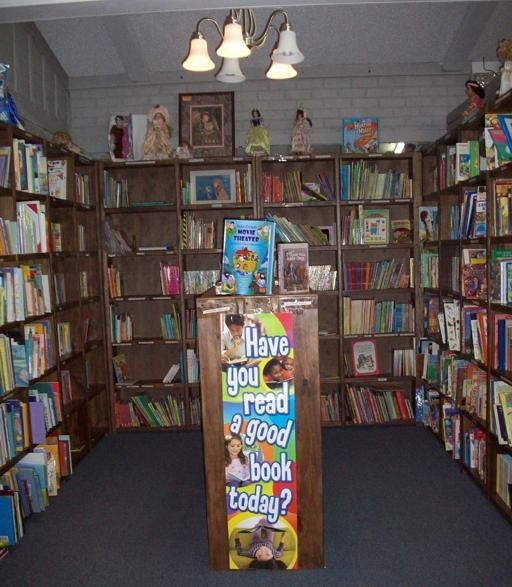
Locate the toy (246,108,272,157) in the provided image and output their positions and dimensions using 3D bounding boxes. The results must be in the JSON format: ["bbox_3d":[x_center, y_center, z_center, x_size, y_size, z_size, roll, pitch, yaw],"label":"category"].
[{"bbox_3d":[0.014,-1.473,4.443,0.200,0.428,0.202,-5,-2,44],"label":"toy"}]

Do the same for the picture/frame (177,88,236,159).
[{"bbox_3d":[-0.525,-1.761,5.077,0.565,0.683,0.035,-1,-7,-4],"label":"picture/frame"}]

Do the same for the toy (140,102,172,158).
[{"bbox_3d":[-0.938,-1.480,4.504,0.269,0.547,0.365,-2,3,4],"label":"toy"}]

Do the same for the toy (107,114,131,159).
[{"bbox_3d":[-1.371,-1.610,4.975,0.194,0.507,0.252,0,4,25],"label":"toy"}]

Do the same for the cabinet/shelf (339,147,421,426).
[{"bbox_3d":[1.095,0.020,4.405,0.688,2.321,0.247,-1,0,18],"label":"cabinet/shelf"}]

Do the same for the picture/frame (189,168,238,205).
[{"bbox_3d":[-0.394,-0.997,4.554,0.369,0.279,0.016,-1,3,2],"label":"picture/frame"}]

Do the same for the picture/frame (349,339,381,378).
[{"bbox_3d":[1.015,0.602,4.571,0.308,0.428,0.046,-2,-7,-5],"label":"picture/frame"}]

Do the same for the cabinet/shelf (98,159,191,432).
[{"bbox_3d":[-1.028,-0.310,4.513,0.744,2.383,0.290,0,10,4],"label":"cabinet/shelf"}]

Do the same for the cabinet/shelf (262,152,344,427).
[{"bbox_3d":[0.369,-0.378,4.382,0.764,2.445,0.260,-3,-25,11],"label":"cabinet/shelf"}]

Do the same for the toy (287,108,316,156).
[{"bbox_3d":[0.416,-1.492,4.477,0.185,0.457,0.199,-1,3,7],"label":"toy"}]
